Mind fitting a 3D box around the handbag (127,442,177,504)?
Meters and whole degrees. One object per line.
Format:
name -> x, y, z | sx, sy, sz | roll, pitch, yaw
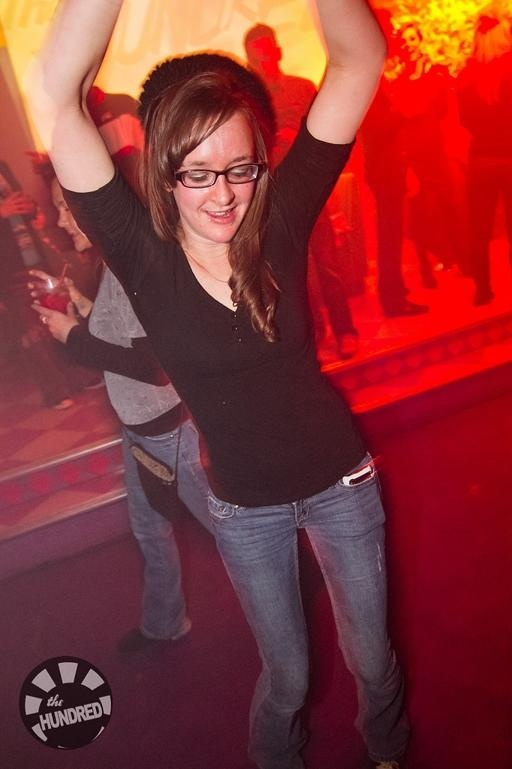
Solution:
handbag -> -0.238, 0.227, 1.523 | 0.098, 0.151, 0.037 | 17, 49, 40
